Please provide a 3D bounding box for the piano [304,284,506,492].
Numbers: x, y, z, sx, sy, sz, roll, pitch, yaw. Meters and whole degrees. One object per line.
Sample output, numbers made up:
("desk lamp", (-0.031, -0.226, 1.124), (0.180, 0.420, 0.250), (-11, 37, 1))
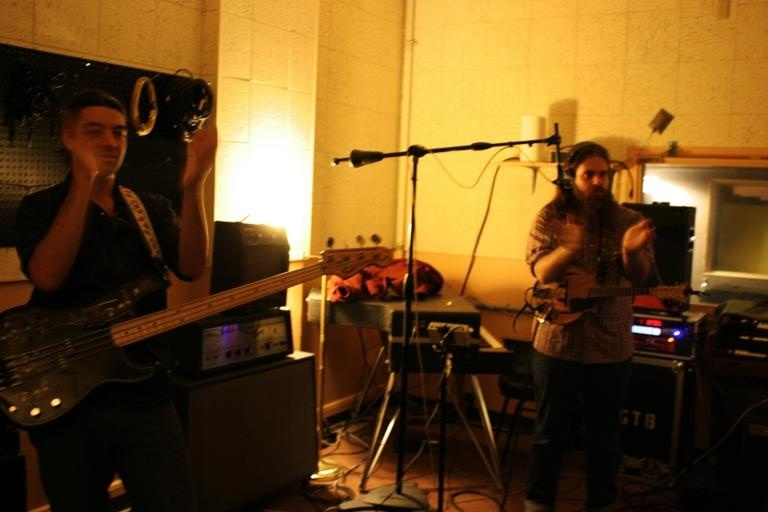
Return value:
("piano", (0.195, 0.628, 4.488), (1.373, 1.047, 1.602), (1, 0, 2))
